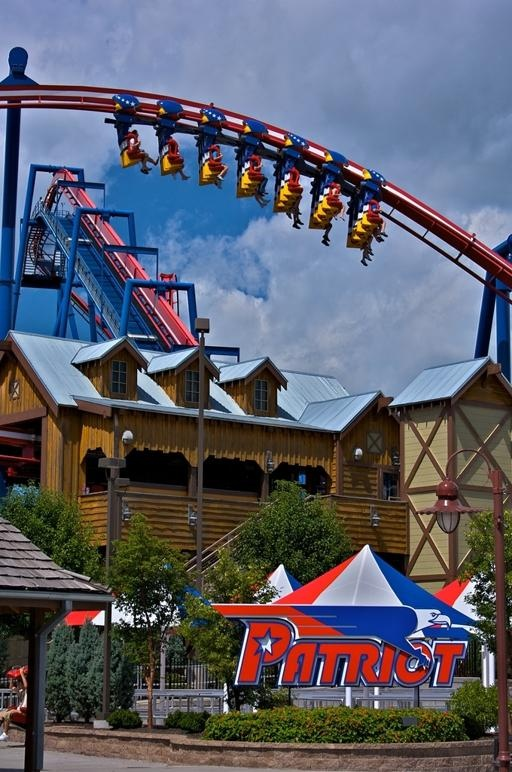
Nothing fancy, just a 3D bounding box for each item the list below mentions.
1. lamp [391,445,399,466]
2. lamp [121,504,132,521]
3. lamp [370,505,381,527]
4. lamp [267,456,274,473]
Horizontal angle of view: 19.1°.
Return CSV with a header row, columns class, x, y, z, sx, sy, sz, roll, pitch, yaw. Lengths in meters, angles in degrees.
class,x,y,z,sx,sy,sz,roll,pitch,yaw
lamp,4.485,2.258,49.113,0.162,0.639,0.455,-6,-15,31
lamp,-3.363,3.341,40.235,0.267,0.392,0.353,4,-8,-34
lamp,3.577,3.944,45.992,0.229,0.602,0.571,-1,-13,11
lamp,0.464,2.336,45.814,0.160,0.509,0.592,0,-13,6
